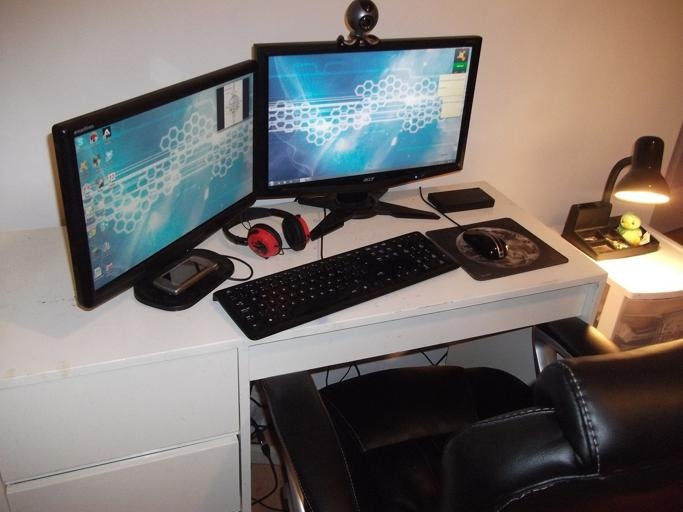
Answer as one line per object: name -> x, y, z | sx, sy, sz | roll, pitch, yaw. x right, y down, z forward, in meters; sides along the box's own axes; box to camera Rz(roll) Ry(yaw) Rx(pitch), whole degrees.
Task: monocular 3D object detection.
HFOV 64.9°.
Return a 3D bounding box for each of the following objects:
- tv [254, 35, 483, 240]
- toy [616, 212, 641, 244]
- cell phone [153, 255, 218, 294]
tv -> 0.059, -0.360, 1.597 | 0.583, 0.456, 0.218 | -10, 41, -16
toy -> 1.055, -0.099, 1.970 | 0.076, 0.110, 0.111 | -3, 15, 4
cell phone -> -0.402, 0.033, 1.386 | 0.075, 0.018, 0.133 | 19, 34, 18
